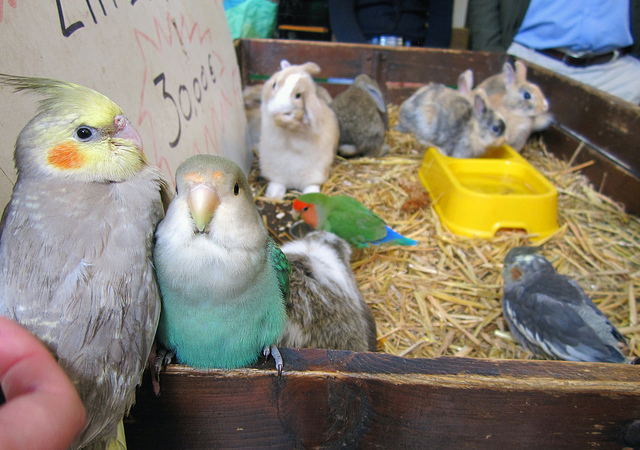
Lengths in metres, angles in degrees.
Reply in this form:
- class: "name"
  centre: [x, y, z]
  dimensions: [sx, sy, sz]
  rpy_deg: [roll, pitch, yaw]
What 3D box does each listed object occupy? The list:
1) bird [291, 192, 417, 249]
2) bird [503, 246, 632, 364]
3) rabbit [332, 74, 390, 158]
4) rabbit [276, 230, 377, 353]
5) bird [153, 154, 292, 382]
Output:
- class: "bird"
  centre: [0.203, -0.051, 2.619]
  dimensions: [0.621, 0.365, 0.235]
  rpy_deg: [1, 8, 9]
- class: "bird"
  centre: [0.928, 0.333, 2.263]
  dimensions: [0.508, 0.467, 0.297]
  rpy_deg: [-3, -6, 44]
- class: "rabbit"
  centre: [0.263, -0.648, 3.417]
  dimensions: [0.343, 0.469, 0.445]
  rpy_deg: [9, 29, 15]
- class: "rabbit"
  centre: [0.026, 0.255, 2.162]
  dimensions: [0.327, 0.378, 0.690]
  rpy_deg: [-1, 20, -1]
- class: "bird"
  centre: [-0.300, 0.112, 1.775]
  dimensions: [0.399, 0.670, 0.643]
  rpy_deg: [1, 13, -1]
